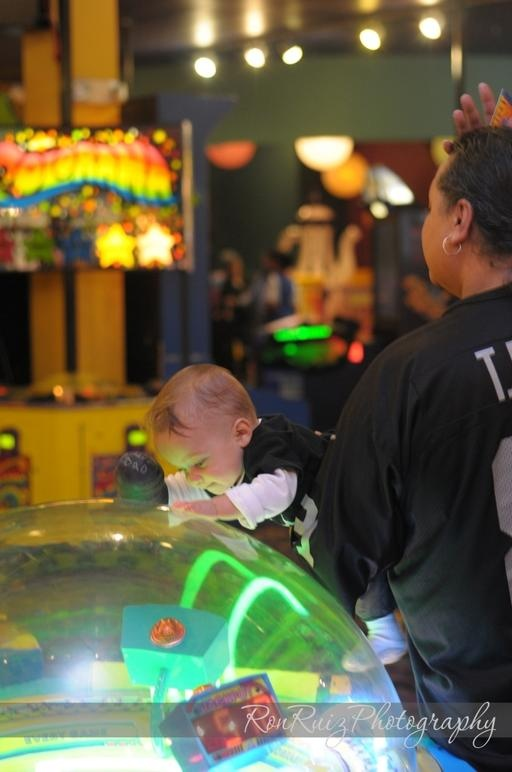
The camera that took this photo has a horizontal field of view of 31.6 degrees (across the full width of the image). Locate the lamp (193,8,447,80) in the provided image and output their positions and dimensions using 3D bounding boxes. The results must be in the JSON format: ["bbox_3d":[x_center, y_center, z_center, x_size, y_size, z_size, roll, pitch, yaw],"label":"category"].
[{"bbox_3d":[0.304,-1.310,3.563,0.669,0.132,0.586,-7,7,-7],"label":"lamp"}]
